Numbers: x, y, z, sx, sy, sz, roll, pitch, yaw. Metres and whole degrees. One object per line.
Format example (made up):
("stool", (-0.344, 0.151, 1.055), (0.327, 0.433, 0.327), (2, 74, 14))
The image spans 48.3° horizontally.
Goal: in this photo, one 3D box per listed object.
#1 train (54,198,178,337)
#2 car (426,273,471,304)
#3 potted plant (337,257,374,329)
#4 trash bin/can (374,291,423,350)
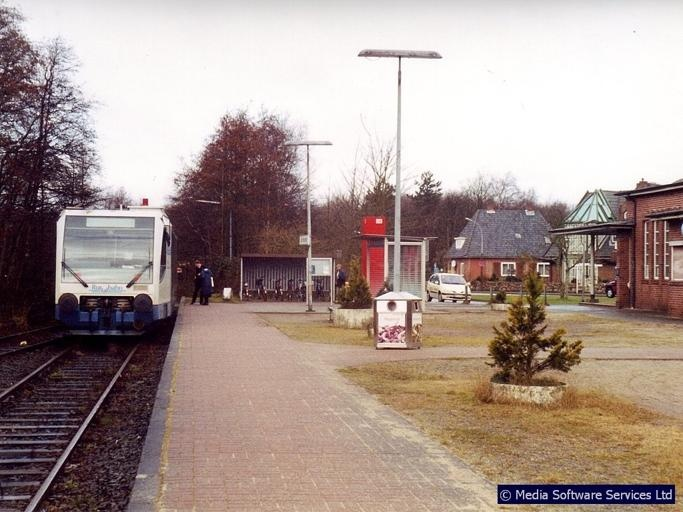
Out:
("train", (-7.335, 0.662, 25.375), (3.130, 5.014, 9.617), (0, -3, -6))
("car", (7.032, 2.025, 48.733), (1.493, 1.313, 2.892), (1, -6, -14))
("potted plant", (0.475, 1.290, 26.761), (1.260, 2.439, 1.077), (-3, 6, -2))
("trash bin/can", (1.518, 1.746, 20.878), (1.302, 1.889, 1.387), (-1, 1, 3))
